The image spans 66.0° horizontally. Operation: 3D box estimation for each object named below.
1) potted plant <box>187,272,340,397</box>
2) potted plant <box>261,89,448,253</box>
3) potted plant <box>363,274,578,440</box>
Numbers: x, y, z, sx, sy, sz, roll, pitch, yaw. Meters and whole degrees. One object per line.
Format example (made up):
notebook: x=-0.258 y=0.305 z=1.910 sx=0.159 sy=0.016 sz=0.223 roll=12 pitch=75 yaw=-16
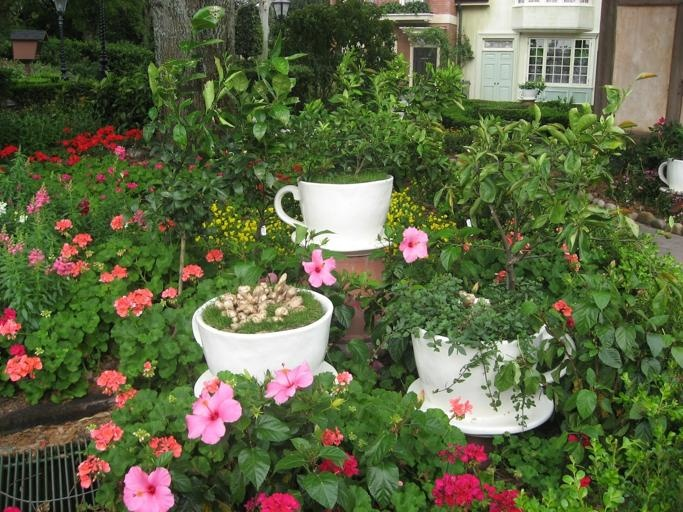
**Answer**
potted plant: x=-0.428 y=0.379 z=2.992 sx=0.656 sy=0.511 sz=0.652 roll=2 pitch=15 yaw=12
potted plant: x=-0.047 y=-0.647 z=4.497 sx=1.106 sy=1.295 sz=1.143 roll=-8 pitch=9 yaw=40
potted plant: x=0.698 y=0.586 z=3.221 sx=0.906 sy=0.712 sz=1.135 roll=-10 pitch=16 yaw=-29
